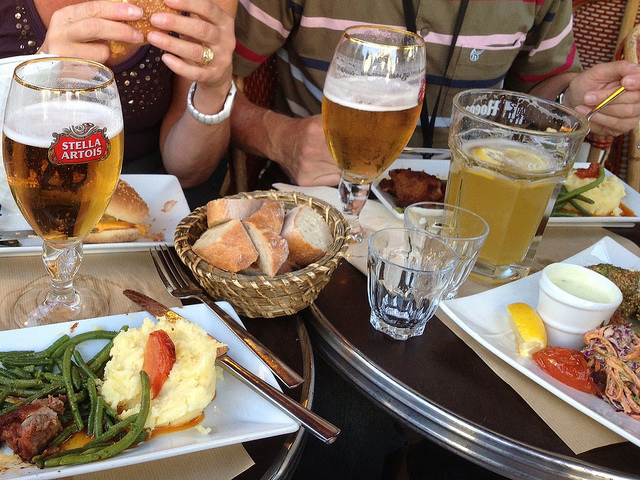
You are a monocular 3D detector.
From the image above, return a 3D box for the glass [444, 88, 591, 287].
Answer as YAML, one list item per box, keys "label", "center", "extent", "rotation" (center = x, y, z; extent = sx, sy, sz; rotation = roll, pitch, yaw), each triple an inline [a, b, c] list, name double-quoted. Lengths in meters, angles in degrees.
- label: "glass"
  center: [0.441, -0.053, 1.097]
  extent: [0.185, 0.241, 0.195]
  rotation: [-12, 18, -29]

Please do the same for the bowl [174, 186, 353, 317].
- label: "bowl"
  center: [-0.092, 0.025, 0.941]
  extent: [0.320, 0.156, 0.333]
  rotation: [-8, 31, 5]

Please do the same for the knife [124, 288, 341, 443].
- label: "knife"
  center: [-0.151, 0.196, 0.735]
  extent: [0.064, 0.027, 0.541]
  rotation: [-25, 44, -33]

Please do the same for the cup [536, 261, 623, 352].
- label: "cup"
  center: [0.490, 0.157, 0.898]
  extent: [0.126, 0.106, 0.123]
  rotation: [9, 2, 0]

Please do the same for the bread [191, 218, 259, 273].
- label: "bread"
  center: [-0.169, 0.017, 0.871]
  extent: [0.107, 0.042, 0.107]
  rotation: [-30, 38, -6]

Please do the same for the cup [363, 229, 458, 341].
- label: "cup"
  center: [0.132, 0.081, 0.944]
  extent: [0.187, 0.201, 0.199]
  rotation: [4, 31, -3]

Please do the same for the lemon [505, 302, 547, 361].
- label: "lemon"
  center: [0.397, 0.164, 0.888]
  extent: [0.067, 0.051, 0.126]
  rotation: [-23, 25, 13]

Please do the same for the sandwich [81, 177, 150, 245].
- label: "sandwich"
  center: [-0.454, -0.064, 1.041]
  extent: [0.135, 0.082, 0.140]
  rotation: [-1, 23, -16]

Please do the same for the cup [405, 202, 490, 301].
- label: "cup"
  center: [0.235, 0.007, 1.041]
  extent: [0.182, 0.209, 0.209]
  rotation: [1, 33, 0]
